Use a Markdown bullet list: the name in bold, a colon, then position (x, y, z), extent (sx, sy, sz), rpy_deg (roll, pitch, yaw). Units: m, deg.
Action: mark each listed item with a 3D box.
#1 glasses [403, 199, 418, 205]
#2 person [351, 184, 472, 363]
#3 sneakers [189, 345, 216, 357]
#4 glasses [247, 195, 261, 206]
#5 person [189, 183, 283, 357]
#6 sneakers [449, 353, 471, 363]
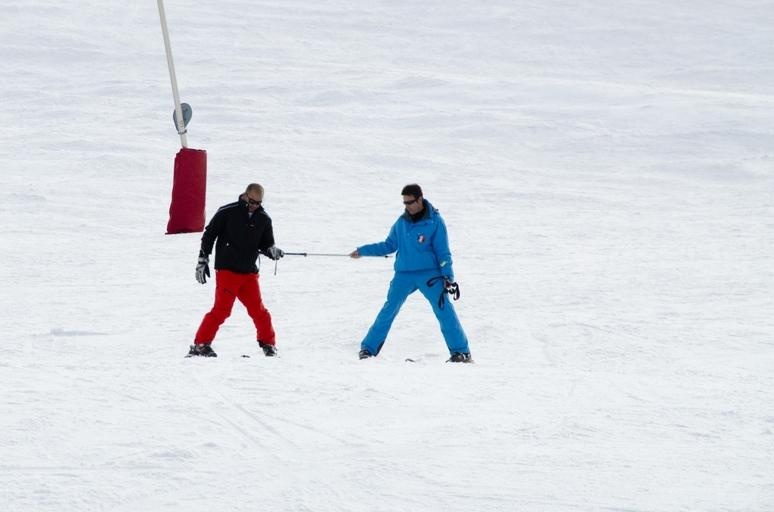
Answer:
- **glasses**: position (0.408, -0.971, 21.608), extent (0.258, 0.109, 0.105), rpy_deg (9, 12, 41)
- **person**: position (0.588, 0.302, 21.698), extent (1.970, 3.176, 0.835), rpy_deg (3, 12, -1)
- **sneakers**: position (-3.282, 1.695, 21.507), extent (0.512, 0.228, 0.216), rpy_deg (1, 10, -6)
- **glasses**: position (-2.323, -0.981, 21.548), extent (0.276, 0.160, 0.137), rpy_deg (-5, 13, -37)
- **person**: position (-2.700, 0.265, 21.601), extent (1.595, 3.123, 0.840), rpy_deg (1, 12, -10)
- **sneakers**: position (1.340, 1.842, 21.651), extent (0.373, 0.107, 0.164), rpy_deg (2, 0, -8)
